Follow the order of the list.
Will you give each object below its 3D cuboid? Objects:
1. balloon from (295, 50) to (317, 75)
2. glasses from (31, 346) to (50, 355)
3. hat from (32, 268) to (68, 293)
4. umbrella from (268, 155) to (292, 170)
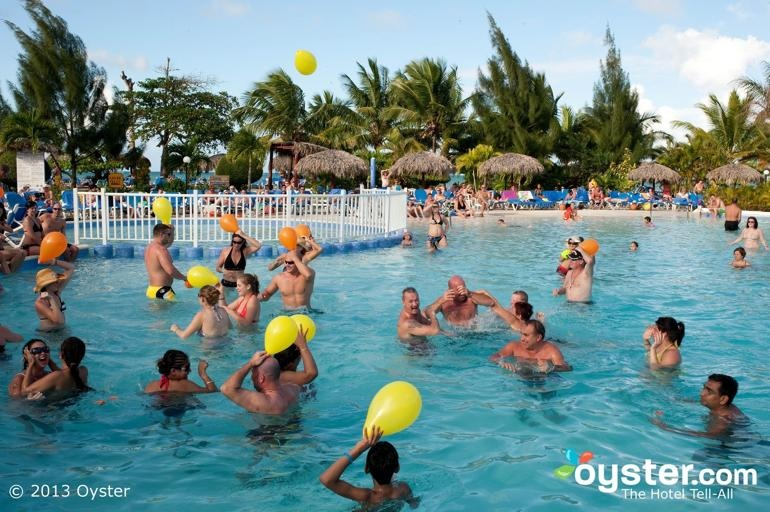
[{"bbox_3d":[-1.456,-3.551,11.177,0.326,0.384,0.366,2,10,3],"label":"balloon"},{"bbox_3d":[-4.085,1.110,7.228,0.184,0.103,0.085,-5,11,-29],"label":"glasses"},{"bbox_3d":[-5.231,0.387,9.461,0.458,0.182,0.436,-16,13,22],"label":"hat"},{"bbox_3d":[-6.125,-5.646,37.024,0.719,0.894,1.533,-8,14,-41],"label":"umbrella"}]
